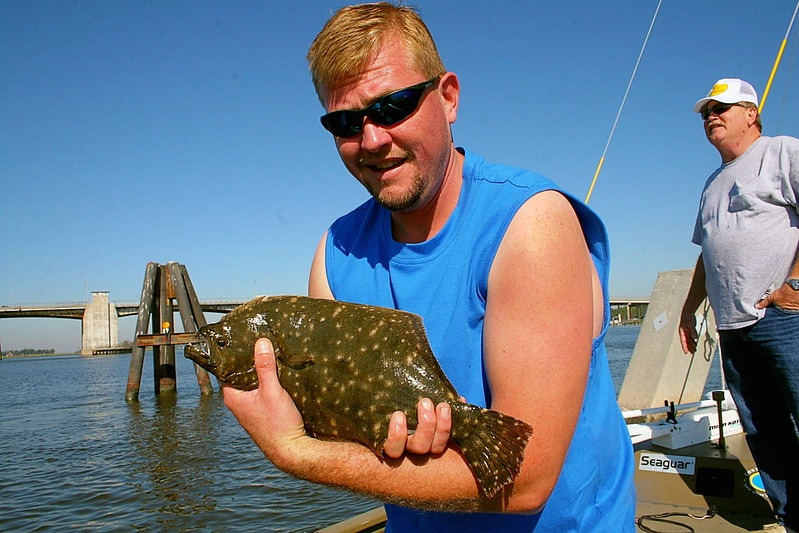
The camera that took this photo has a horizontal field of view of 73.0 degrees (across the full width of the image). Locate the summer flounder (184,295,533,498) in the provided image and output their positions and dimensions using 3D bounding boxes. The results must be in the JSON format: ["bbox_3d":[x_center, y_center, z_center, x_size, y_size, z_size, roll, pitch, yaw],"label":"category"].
[{"bbox_3d":[-0.355,0.732,3.580,2.372,0.969,0.682,16,-1,12],"label":"summer flounder"}]

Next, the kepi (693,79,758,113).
[{"bbox_3d":[3.814,-1.988,6.228,0.633,0.376,0.496,4,3,-4],"label":"kepi"}]
